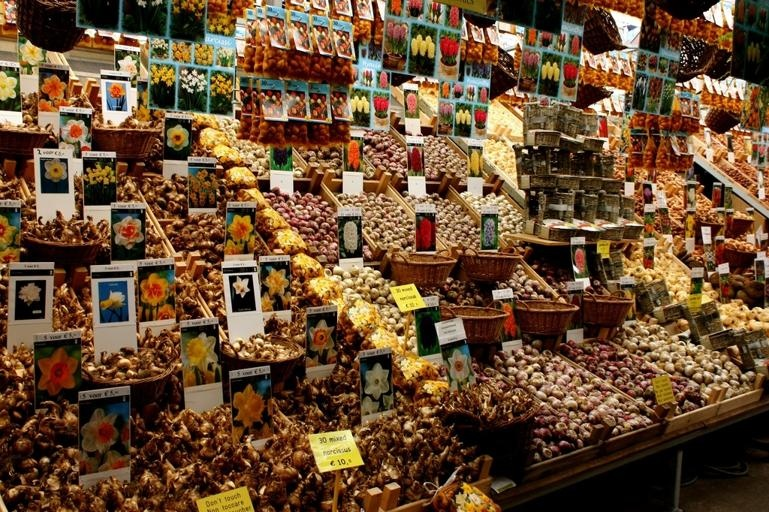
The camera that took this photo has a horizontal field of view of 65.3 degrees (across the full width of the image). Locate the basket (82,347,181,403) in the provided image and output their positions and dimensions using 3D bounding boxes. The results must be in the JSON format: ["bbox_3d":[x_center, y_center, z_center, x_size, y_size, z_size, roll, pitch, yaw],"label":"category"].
[{"bbox_3d":[-1.476,0.777,3.726,0.427,0.165,0.446,-24,6,-12],"label":"basket"}]

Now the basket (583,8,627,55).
[{"bbox_3d":[2.215,-2.336,6.172,0.420,0.414,0.430,1,11,2],"label":"basket"}]

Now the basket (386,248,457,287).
[{"bbox_3d":[0.305,0.113,5.130,0.392,0.204,0.369,1,4,10],"label":"basket"}]

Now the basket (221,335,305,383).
[{"bbox_3d":[-0.793,0.621,3.861,0.346,0.147,0.360,9,10,12],"label":"basket"}]

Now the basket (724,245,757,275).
[{"bbox_3d":[4.790,0.045,8.109,0.351,0.257,0.348,0,2,-43],"label":"basket"}]

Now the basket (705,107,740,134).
[{"bbox_3d":[4.976,-2.020,8.898,0.412,0.310,0.440,9,14,38],"label":"basket"}]

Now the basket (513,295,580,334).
[{"bbox_3d":[1.450,0.551,5.531,0.534,0.298,0.550,0,-1,29],"label":"basket"}]

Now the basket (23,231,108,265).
[{"bbox_3d":[-2.282,-0.030,4.306,0.506,0.205,0.541,9,8,17],"label":"basket"}]

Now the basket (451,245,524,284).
[{"bbox_3d":[0.920,0.102,5.651,0.687,0.341,0.702,-5,-5,16],"label":"basket"}]

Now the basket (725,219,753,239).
[{"bbox_3d":[5.409,-0.429,9.181,0.404,0.188,0.413,2,2,40],"label":"basket"}]

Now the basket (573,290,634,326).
[{"bbox_3d":[2.099,0.512,5.740,0.393,0.243,0.375,0,1,10],"label":"basket"}]

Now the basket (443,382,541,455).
[{"bbox_3d":[0.689,1.045,3.927,0.450,0.325,0.498,13,17,40],"label":"basket"}]

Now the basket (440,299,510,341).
[{"bbox_3d":[0.751,0.507,4.972,0.313,0.193,0.396,3,2,-30],"label":"basket"}]
